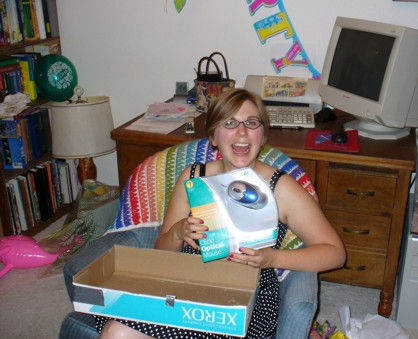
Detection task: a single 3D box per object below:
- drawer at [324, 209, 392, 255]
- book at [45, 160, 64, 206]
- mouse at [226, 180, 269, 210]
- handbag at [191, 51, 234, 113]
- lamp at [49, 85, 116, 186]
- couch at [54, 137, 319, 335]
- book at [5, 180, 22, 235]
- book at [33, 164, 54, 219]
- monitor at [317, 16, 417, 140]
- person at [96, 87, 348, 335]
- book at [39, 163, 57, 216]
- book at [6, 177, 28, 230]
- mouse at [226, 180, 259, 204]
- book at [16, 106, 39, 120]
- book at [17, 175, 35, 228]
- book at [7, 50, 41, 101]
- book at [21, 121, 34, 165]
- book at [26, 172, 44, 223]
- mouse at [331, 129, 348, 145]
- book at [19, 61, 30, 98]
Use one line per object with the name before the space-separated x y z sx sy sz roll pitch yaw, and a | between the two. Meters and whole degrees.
drawer | 0.726 0.291 1.620 0.221 0.224 0.137 4 23 10
book | -1.229 0.109 2.748 0.059 0.269 0.248 -6 10 -18
mouse | 0.112 0.074 0.989 0.118 0.071 0.044 21 5 -3
handbag | 0.004 -0.570 2.213 0.180 0.383 0.263 -1 11 -7
lamp | -0.947 -0.259 2.540 0.503 0.738 0.412 12 23 24
couch | -0.053 0.235 1.202 0.639 0.694 0.606 13 27 15
book | -1.387 0.278 2.414 0.044 0.409 0.085 -11 24 -29
book | -1.251 0.180 2.621 0.068 0.311 0.291 -11 10 0
monitor | 0.836 -0.526 1.778 0.212 0.523 0.524 -16 28 -39
person | 0.078 0.126 1.141 0.773 0.741 0.455 1 21 -2
book | -1.248 0.146 2.685 0.064 0.301 0.276 -7 8 -16
book | -1.388 0.247 2.450 0.071 0.441 0.064 -12 24 -31
mouse | 0.099 0.067 0.990 0.090 0.055 0.027 4 21 6
book | -1.290 -0.411 2.407 0.101 0.026 0.105 -24 8 33
book | -1.351 0.223 2.486 0.045 0.345 0.255 -12 33 -24
book | -1.330 -0.682 2.422 0.296 0.304 0.167 24 34 25
book | -1.342 -0.210 2.498 0.046 0.318 0.099 -5 22 -18
book | -1.316 0.192 2.545 0.038 0.351 0.255 -12 31 -21
mouse | 0.666 -0.182 1.718 0.055 0.066 0.091 6 39 14
book | -1.335 -0.687 2.474 0.056 0.222 0.054 -7 22 -21
